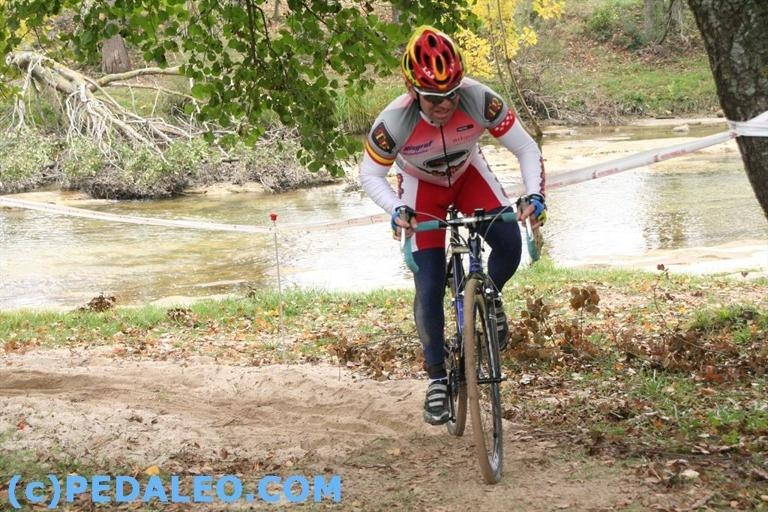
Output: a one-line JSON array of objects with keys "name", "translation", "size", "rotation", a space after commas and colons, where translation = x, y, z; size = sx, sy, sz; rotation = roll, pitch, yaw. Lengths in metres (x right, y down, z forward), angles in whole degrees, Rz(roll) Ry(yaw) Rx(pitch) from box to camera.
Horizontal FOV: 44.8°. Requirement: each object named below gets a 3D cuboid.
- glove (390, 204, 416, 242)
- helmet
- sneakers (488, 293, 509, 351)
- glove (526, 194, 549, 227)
[{"name": "glove", "translation": [0.193, -0.319, 9.033], "size": [0.238, 0.306, 0.308], "rotation": [-2, 22, 0]}, {"name": "helmet", "translation": [0.468, -1.830, 8.907], "size": [0.568, 0.635, 0.231], "rotation": [-11, -5, -7]}, {"name": "sneakers", "translation": [1.215, 0.691, 9.617], "size": [0.215, 0.258, 0.639], "rotation": [-22, 33, 21]}, {"name": "glove", "translation": [1.499, -0.458, 9.028], "size": [0.135, 0.216, 0.299], "rotation": [-15, 38, -3]}]
